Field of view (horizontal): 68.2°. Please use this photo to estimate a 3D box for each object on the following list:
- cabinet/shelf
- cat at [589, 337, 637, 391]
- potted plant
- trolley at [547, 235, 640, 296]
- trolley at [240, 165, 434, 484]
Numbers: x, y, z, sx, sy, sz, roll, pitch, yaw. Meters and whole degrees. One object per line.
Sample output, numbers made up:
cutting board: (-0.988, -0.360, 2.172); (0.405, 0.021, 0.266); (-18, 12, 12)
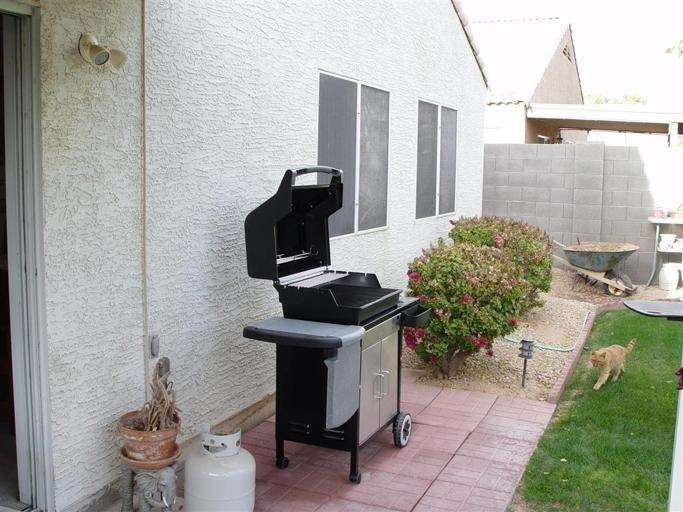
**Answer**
cabinet/shelf: (-0.051, 1.075, 4.246); (0.884, 1.002, 1.378); (-1, -3, 18)
cat: (3.280, 1.315, 6.039); (0.621, 0.429, 0.375); (-4, 7, -41)
potted plant: (-1.318, 1.043, 3.430); (0.391, 0.600, 0.468); (-5, 10, -25)
trolley: (5.182, 0.172, 10.167); (1.628, 1.225, 1.178); (6, 8, 31)
trolley: (-0.020, 0.509, 4.222); (1.360, 2.409, 2.066); (2, 5, 18)
